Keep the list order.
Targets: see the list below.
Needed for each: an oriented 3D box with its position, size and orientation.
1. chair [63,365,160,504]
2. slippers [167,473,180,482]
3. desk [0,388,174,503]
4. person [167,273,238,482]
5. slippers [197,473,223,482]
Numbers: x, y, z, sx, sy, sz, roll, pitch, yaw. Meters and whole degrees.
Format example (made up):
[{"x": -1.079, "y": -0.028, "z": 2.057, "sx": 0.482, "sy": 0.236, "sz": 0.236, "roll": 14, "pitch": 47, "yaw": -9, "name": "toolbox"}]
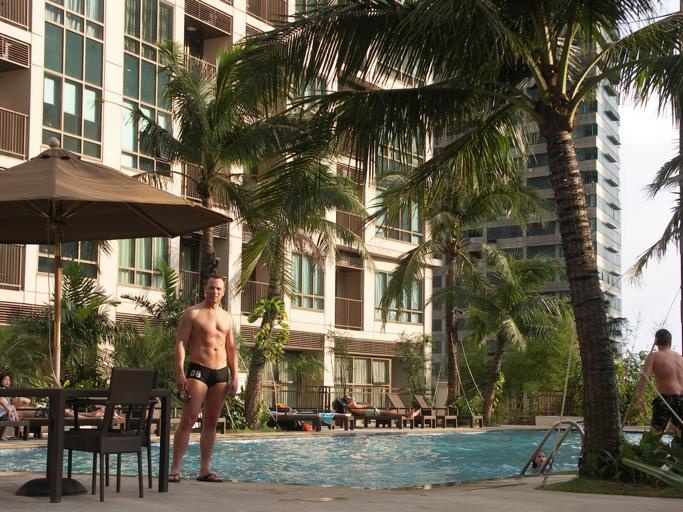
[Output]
[{"x": -2.845, "y": 2.158, "z": 12.042, "sx": 0.887, "sy": 1.621, "sz": 0.940, "roll": 6, "pitch": -4, "yaw": -44, "name": "chair"}, {"x": -2.199, "y": 2.932, "z": 12.955, "sx": 0.129, "sy": 0.053, "sz": 0.083, "roll": 4, "pitch": -3, "yaw": 7, "name": "slippers"}, {"x": -3.026, "y": 2.220, "z": 11.909, "sx": 1.367, "sy": 1.313, "sz": 1.539, "roll": -7, "pitch": -13, "yaw": 30, "name": "desk"}, {"x": -1.841, "y": 1.654, "z": 13.223, "sx": 0.843, "sy": 2.749, "sz": 0.692, "roll": 2, "pitch": -11, "yaw": -11, "name": "person"}, {"x": -1.775, "y": 3.014, "z": 13.242, "sx": 0.284, "sy": 0.094, "sz": 0.144, "roll": -5, "pitch": -7, "yaw": 20, "name": "slippers"}]
